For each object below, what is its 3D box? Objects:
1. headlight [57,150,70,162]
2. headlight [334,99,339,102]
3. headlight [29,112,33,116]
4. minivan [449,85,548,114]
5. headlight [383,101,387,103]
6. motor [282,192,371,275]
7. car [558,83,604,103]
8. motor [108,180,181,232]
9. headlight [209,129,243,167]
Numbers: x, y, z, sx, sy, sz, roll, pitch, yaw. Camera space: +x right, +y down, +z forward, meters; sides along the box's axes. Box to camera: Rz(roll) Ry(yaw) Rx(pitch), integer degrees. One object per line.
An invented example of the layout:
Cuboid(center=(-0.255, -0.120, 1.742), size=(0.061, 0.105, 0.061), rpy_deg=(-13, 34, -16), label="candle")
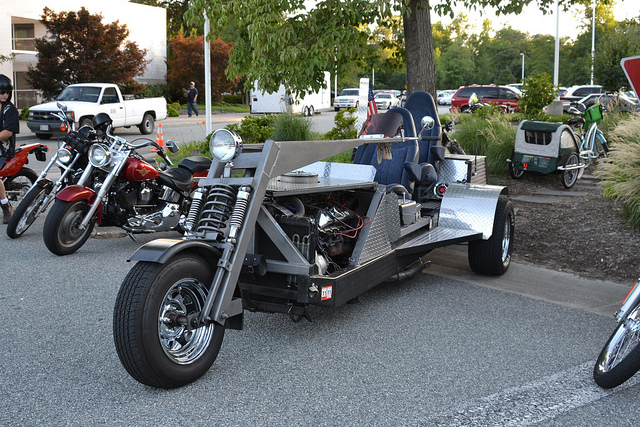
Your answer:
Cuboid(center=(-4.175, -0.942, 7.798), size=(0.215, 0.198, 0.052), rpy_deg=(3, 15, 12), label="headlight")
Cuboid(center=(1.647, -11.358, 47.625), size=(0.350, 0.368, 0.369), rpy_deg=(-1, 6, -14), label="headlight")
Cuboid(center=(-12.315, -4.257, 20.438), size=(0.345, 0.138, 0.047), rpy_deg=(13, 20, 39), label="headlight")
Cuboid(center=(12.534, -7.619, 33.584), size=(6.357, 2.779, 2.851), rpy_deg=(7, 12, 27), label="minivan")
Cuboid(center=(6.698, -11.652, 49.938), size=(0.427, 0.262, 0.293), rpy_deg=(3, 1, 7), label="headlight")
Cuboid(center=(0.136, 0.123, 5.439), size=(0.814, 0.751, 0.381), rpy_deg=(-13, 20, -38), label="motor")
Cuboid(center=(16.909, -7.874, 31.241), size=(2.108, 1.015, 4.635), rpy_deg=(5, 17, 17), label="car")
Cuboid(center=(-2.852, -0.161, 8.082), size=(1.335, 0.909, 0.713), rpy_deg=(-3, 6, -31), label="motor")
Cuboid(center=(-0.929, -0.649, 4.793), size=(0.287, 0.393, 0.207), rpy_deg=(-1, 5, 7), label="headlight")
